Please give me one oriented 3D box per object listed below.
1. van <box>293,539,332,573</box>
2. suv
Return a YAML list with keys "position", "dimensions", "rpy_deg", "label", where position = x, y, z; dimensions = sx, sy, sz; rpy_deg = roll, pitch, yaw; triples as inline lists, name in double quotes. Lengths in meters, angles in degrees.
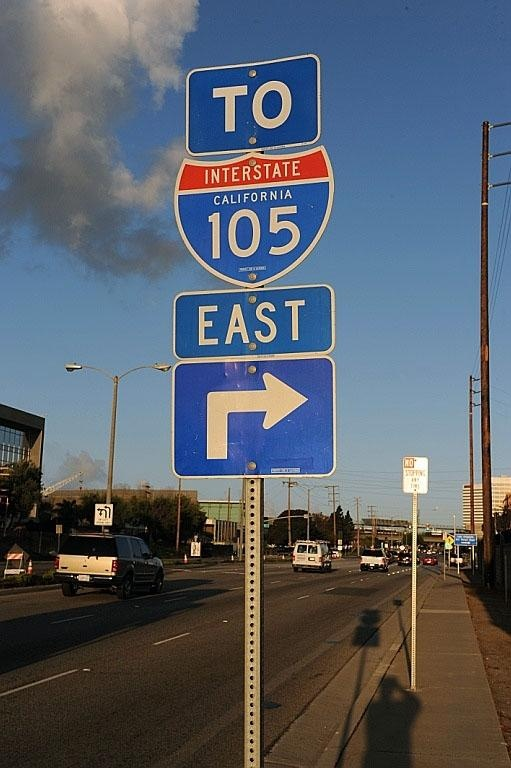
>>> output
- position: [3.884, 11.764, 46.711]
  dimensions: [1.917, 2.082, 3.218]
  rpy_deg: [-5, -11, 23]
  label: "van"
- position: [-4.261, 5.767, 21.788]
  dimensions: [2.030, 2.029, 4.749]
  rpy_deg: [-6, -13, 30]
  label: "suv"
